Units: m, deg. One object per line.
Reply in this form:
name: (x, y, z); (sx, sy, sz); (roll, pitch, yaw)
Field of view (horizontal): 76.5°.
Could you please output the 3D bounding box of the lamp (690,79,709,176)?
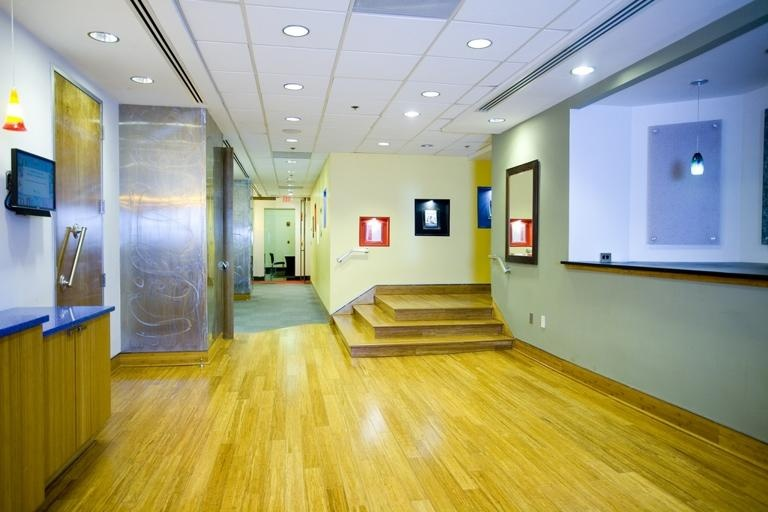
lamp: (3.801, -1.562, 5.914); (0.197, 1.099, 0.627); (5, 10, 33)
